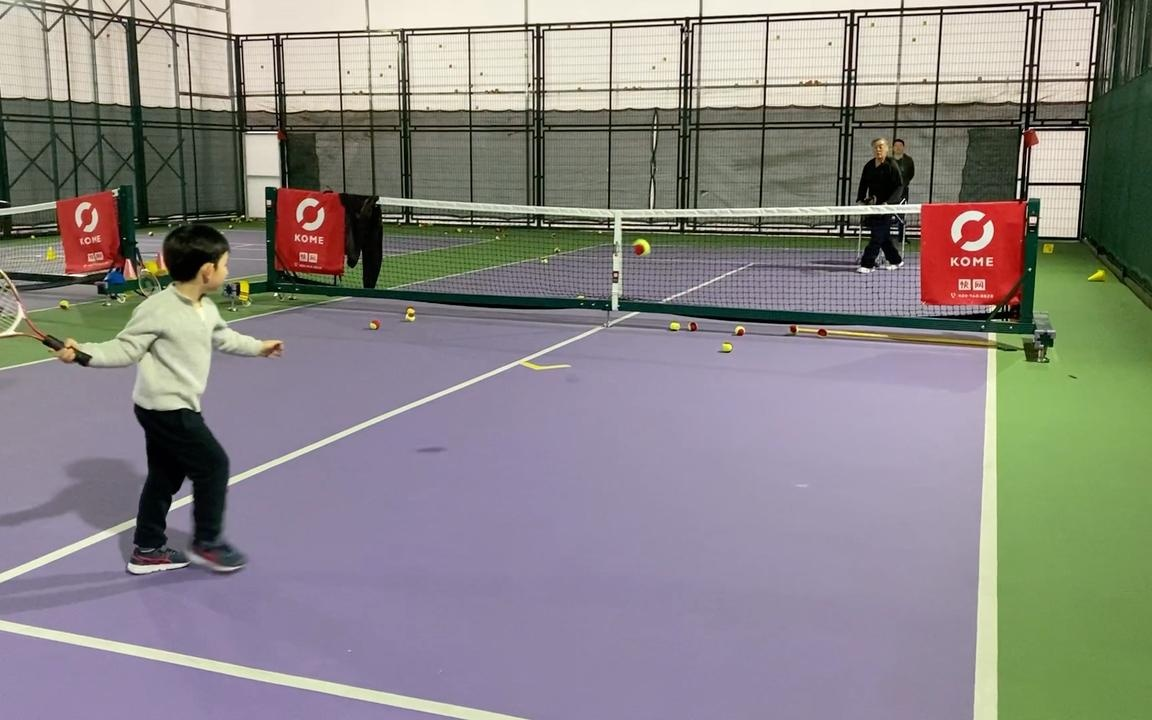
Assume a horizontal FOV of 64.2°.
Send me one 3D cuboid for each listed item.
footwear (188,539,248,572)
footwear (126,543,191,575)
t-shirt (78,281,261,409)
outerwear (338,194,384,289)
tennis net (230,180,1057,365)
[{"bbox_3d":[-2.519,1.345,6.477,0.384,0.193,0.198,7,10,2],"label":"footwear"},{"bbox_3d":[-2.920,1.369,6.497,0.460,0.247,0.183,-1,9,-26],"label":"footwear"},{"bbox_3d":[-3.573,-0.101,8.080,1.340,0.866,0.468,-1,-2,-45],"label":"t-shirt"},{"bbox_3d":[-2.887,-1.601,12.454,0.497,1.271,0.578,-4,14,-15],"label":"outerwear"},{"bbox_3d":[0.789,-2.654,17.562,11.646,2.343,14.179,2,16,8],"label":"tennis net"}]
